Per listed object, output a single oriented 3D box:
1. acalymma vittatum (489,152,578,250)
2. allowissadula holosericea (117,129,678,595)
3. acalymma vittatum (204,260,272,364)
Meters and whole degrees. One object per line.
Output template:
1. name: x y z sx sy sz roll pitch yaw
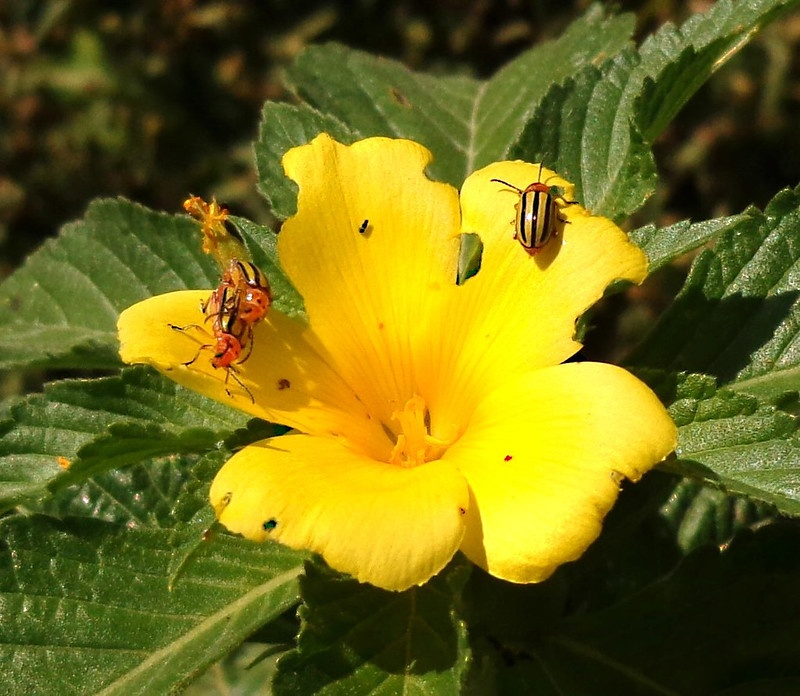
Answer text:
1. acalymma vittatum: 0.318 -0.312 2.129 0.202 0.080 0.254 4 63 8
2. allowissadula holosericea: 0.024 0.248 2.412 1.174 0.470 1.157 -35 55 -24
3. acalymma vittatum: -0.367 -0.083 2.206 0.143 0.227 0.251 1 91 15
